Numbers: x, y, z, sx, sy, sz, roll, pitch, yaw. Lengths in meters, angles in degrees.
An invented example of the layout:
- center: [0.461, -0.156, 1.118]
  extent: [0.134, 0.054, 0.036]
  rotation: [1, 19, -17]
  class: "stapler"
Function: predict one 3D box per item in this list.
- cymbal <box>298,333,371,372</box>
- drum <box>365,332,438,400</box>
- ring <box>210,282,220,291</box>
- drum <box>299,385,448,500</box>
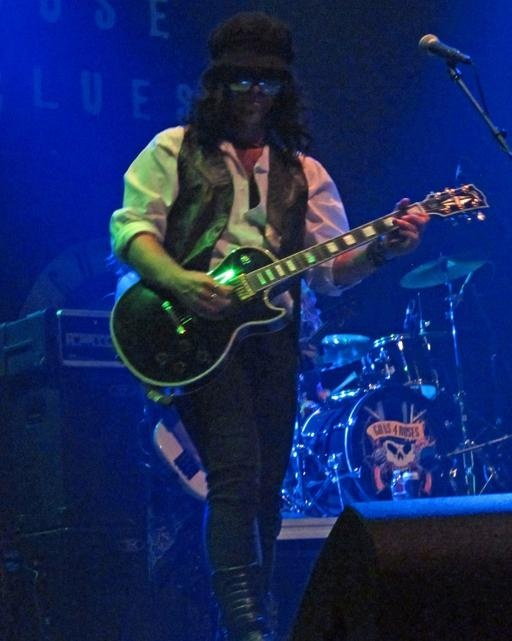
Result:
- center: [0.334, 0.131, 3.354]
  extent: [0.299, 0.133, 0.287]
  rotation: [-3, 7, 9]
  class: "cymbal"
- center: [0.669, 0.207, 3.599]
  extent: [0.315, 0.277, 0.309]
  rotation: [-18, -8, 14]
  class: "drum"
- center: [-0.097, -0.083, 1.929]
  extent: [0.019, 0.015, 0.004]
  rotation: [-4, -3, -22]
  class: "ring"
- center: [0.494, 0.519, 3.290]
  extent: [0.420, 0.402, 0.301]
  rotation: [-19, 11, -34]
  class: "drum"
